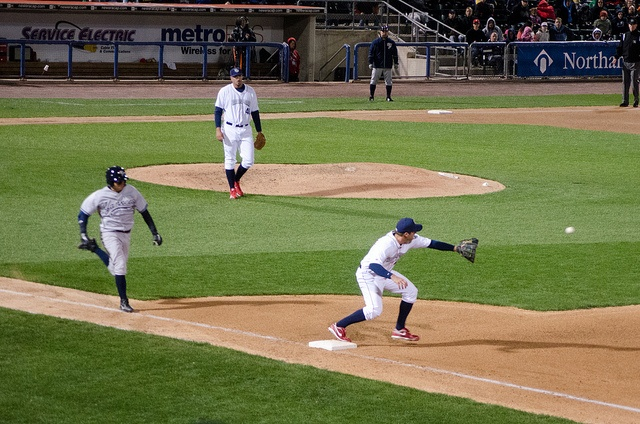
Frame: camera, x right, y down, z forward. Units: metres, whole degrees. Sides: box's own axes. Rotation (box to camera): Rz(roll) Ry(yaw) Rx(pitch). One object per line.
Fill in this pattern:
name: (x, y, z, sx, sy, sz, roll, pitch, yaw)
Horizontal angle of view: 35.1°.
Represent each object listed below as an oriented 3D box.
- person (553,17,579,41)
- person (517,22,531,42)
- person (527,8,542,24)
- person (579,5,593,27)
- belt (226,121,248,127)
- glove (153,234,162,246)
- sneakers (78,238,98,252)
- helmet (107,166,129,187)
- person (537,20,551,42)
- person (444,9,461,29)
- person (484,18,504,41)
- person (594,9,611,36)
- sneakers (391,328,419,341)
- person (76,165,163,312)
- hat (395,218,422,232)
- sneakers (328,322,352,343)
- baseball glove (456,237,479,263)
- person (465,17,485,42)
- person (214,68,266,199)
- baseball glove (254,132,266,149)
person: (10.180, -7.604, 42.349, 0.590, 0.886, 1.738, 4, 7, 37)
person: (8.544, -7.503, 42.162, 0.727, 0.393, 0.990, -1, 38, 14)
person: (9.176, -8.362, 43.170, 0.455, 0.723, 0.617, 1, 6, 11)
person: (11.926, -8.848, 45.619, 0.609, 1.039, 1.040, 1, 6, 14)
belt: (-1.817, -1.930, 22.094, 0.520, 0.164, 0.266, 0, 6, -3)
glove: (-2.738, 0.483, 17.363, 0.176, 0.226, 0.123, 2, 10, 40)
sneakers: (-3.943, 0.540, 17.012, 0.432, 0.149, 0.186, 7, -27, -8)
helmet: (-3.438, -0.600, 17.078, 0.365, 0.280, 0.273, 2, 17, 10)
person: (9.189, -7.398, 41.654, 0.485, 0.816, 0.964, 1, 6, 12)
person: (5.728, -8.243, 43.455, 0.471, 0.907, 0.706, -1, 6, -9)
person: (7.112, -7.431, 41.335, 0.828, 0.973, 1.093, 0, 6, 0)
person: (12.058, -8.104, 43.248, 0.637, 1.122, 0.961, 4, 7, 32)
sneakers: (1.422, 2.061, 17.041, 0.484, 0.202, 0.170, 2, 7, 6)
person: (-3.429, 0.472, 17.271, 1.289, 2.490, 0.494, -2, 6, -13)
hat: (1.459, 0.204, 16.538, 0.361, 0.176, 0.213, -7, 31, -5)
sneakers: (0.318, 2.019, 16.820, 0.465, 0.207, 0.172, 36, 17, 6)
baseball glove: (2.442, 0.642, 16.831, 0.339, 0.406, 0.249, 1, 6, 10)
person: (6.407, -7.372, 41.393, 0.834, 0.969, 0.559, -2, 6, -18)
person: (-1.764, -1.735, 22.396, 1.036, 2.916, 0.861, -1, 6, -5)
baseball glove: (-1.331, -1.581, 22.599, 0.225, 0.351, 0.354, 17, 40, -4)
